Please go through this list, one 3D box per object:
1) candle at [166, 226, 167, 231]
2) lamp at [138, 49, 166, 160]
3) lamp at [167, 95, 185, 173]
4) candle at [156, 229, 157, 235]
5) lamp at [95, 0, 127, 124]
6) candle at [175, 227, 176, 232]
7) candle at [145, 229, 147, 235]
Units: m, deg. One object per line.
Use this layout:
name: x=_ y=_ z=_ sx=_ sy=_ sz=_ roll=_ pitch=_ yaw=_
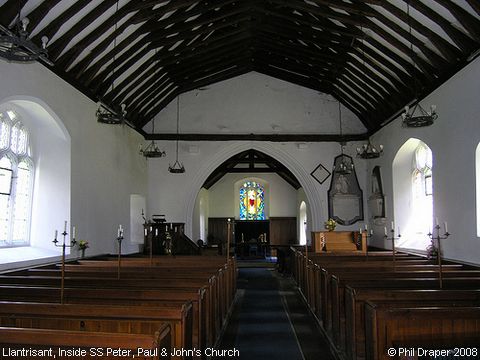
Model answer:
candle: x=-2.300 y=1.524 z=14.209 sx=0.073 sy=0.175 sz=0.238 roll=-5 pitch=-1 yaw=-10
lamp: x=-2.850 y=-1.444 z=14.471 sx=0.754 sy=2.703 sz=3.514 roll=-5 pitch=-1 yaw=-10
lamp: x=-2.243 y=-1.643 z=15.332 sx=0.597 sy=2.565 sz=1.764 roll=-5 pitch=-1 yaw=-9
candle: x=-2.570 y=1.612 z=13.940 sx=0.075 sy=0.151 sz=0.051 roll=-5 pitch=-1 yaw=-4
lamp: x=-3.188 y=-2.564 z=10.996 sx=0.776 sy=2.430 sz=3.148 roll=-5 pitch=-2 yaw=-17
candle: x=-2.053 y=1.579 z=14.495 sx=0.057 sy=0.156 sz=0.016 roll=-5 pitch=-1 yaw=-8
candle: x=-2.984 y=1.647 z=14.307 sx=0.037 sy=0.159 sz=0.176 roll=-4 pitch=-2 yaw=-36
